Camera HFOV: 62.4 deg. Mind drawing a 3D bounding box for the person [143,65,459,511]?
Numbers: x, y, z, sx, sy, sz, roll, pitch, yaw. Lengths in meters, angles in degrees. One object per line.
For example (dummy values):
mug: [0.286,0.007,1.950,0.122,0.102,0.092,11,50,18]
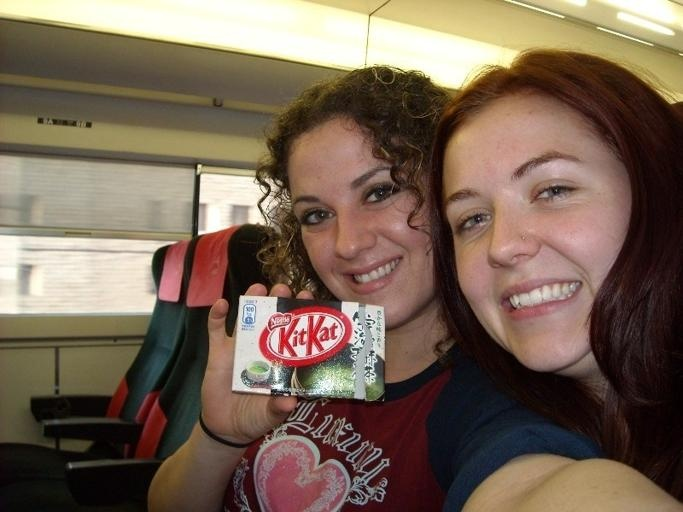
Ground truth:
person: [-0.075,0.085,1.560,0.726,1.248,0.527,-1,-1,34]
